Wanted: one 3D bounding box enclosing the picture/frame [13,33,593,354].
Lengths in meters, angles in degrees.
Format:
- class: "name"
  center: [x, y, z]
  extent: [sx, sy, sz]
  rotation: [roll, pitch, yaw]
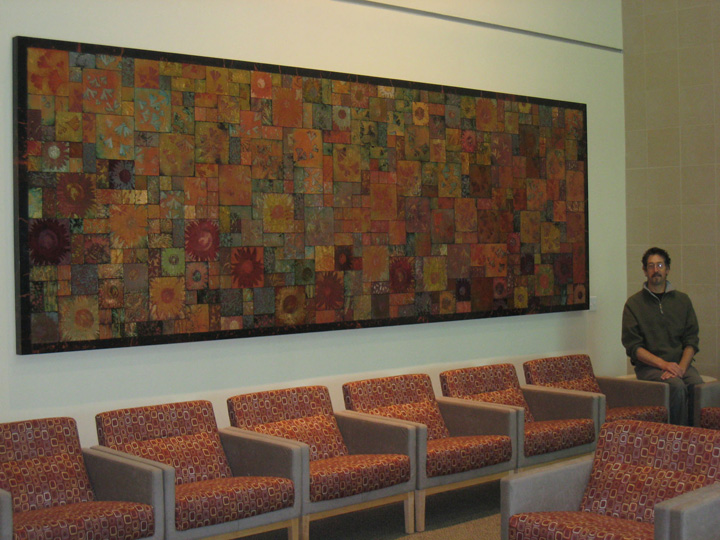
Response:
- class: "picture/frame"
  center: [-0.112, -0.612, 5.871]
  extent: [5.332, 2.363, 0.088]
  rotation: [-1, -1, -22]
